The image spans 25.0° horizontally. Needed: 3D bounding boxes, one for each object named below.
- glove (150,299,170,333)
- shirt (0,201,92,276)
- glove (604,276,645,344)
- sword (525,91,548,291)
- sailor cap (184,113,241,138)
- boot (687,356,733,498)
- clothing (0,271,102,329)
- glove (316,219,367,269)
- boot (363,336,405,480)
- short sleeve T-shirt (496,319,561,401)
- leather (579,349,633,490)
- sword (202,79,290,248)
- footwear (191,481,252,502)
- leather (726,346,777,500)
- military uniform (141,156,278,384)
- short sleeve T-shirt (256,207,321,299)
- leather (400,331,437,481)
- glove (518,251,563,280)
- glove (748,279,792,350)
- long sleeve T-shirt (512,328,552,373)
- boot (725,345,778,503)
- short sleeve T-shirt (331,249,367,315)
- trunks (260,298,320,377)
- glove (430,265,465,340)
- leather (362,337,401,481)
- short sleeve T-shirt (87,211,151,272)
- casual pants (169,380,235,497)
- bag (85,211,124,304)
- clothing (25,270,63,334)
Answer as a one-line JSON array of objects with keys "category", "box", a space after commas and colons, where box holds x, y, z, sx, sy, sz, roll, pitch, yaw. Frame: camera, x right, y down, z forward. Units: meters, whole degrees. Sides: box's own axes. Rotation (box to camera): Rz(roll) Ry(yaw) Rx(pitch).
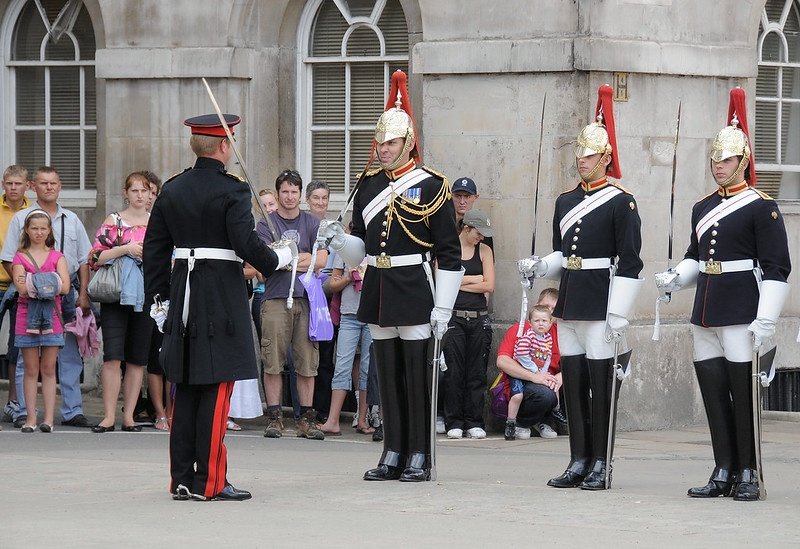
[{"category": "glove", "box": [-1.698, 0.296, 12.875, 0.188, 0.200, 0.091, -6, -1, -9]}, {"category": "shirt", "box": [-3.028, -0.288, 15.348, 0.699, 0.546, 0.261, 1, -4, -36]}, {"category": "glove", "box": [1.640, 0.258, 13.272, 0.240, 0.498, 0.169, 3, 13, 7]}, {"category": "sword", "box": [1.083, -0.710, 14.494, 0.054, 1.707, 0.177, 8, 0, 10]}, {"category": "sailor cap", "box": [-1.298, -1.071, 12.818, 0.286, 0.083, 0.247, -4, 9, -27]}, {"category": "boot", "box": [2.281, 1.159, 13.277, 0.439, 0.998, 0.313, -1, -2, -12]}, {"category": "clothing", "box": [-3.101, 0.211, 15.476, 0.587, 0.522, 0.286, 1, 0, -25]}, {"category": "glove", "box": [-0.451, -0.243, 13.990, 0.401, 0.166, 0.186, 25, 20, -42]}, {"category": "boot", "box": [-0.145, 1.018, 13.604, 0.455, 1.109, 0.247, 0, -3, -38]}, {"category": "short sleeve T-shirt", "box": [1.108, 0.760, 15.361, 0.780, 0.677, 0.425, 2, -10, 1]}, {"category": "leather", "box": [1.504, 1.052, 13.292, 0.301, 1.038, 0.470, 3, 13, 8]}, {"category": "sword", "box": [-1.273, -0.917, 14.715, 0.270, 2.113, 0.051, -16, 41, 7]}, {"category": "footwear", "box": [-1.253, 1.544, 12.756, 0.429, 0.160, 0.147, 0, -2, -9]}, {"category": "leather", "box": [2.647, 1.073, 13.129, 0.245, 1.134, 0.312, -12, -22, 38]}, {"category": "military uniform", "box": [-1.369, 0.069, 12.910, 1.041, 1.661, 0.555, 2, 1, 26]}, {"category": "short sleeve T-shirt", "box": [-0.916, -0.245, 15.463, 0.540, 0.384, 0.742, 1, -34, 1]}, {"category": "leather", "box": [0.138, 1.007, 13.431, 0.250, 1.033, 0.410, 1, 13, 0]}, {"category": "glove", "box": [1.056, -0.060, 13.597, 0.304, 0.113, 0.183, 0, 3, -7]}, {"category": "glove", "box": [2.652, 0.291, 13.037, 0.243, 0.501, 0.310, 5, 13, 16]}, {"category": "long sleeve T-shirt", "box": [1.141, 0.679, 15.502, 0.405, 0.401, 0.278, 16, -12, -36]}, {"category": "boot", "box": [2.648, 1.090, 13.144, 0.238, 1.130, 0.313, -3, -5, 38]}, {"category": "short sleeve T-shirt", "box": [-0.417, 0.116, 15.608, 0.440, 0.443, 0.144, 1, -4, 25]}, {"category": "trunks", "box": [-0.953, 0.521, 15.421, 0.571, 0.685, 0.283, 1, -11, -26]}, {"category": "glove", "box": [0.346, 0.228, 13.471, 0.218, 0.558, 0.273, 2, 13, 4]}, {"category": "leather", "box": [-0.109, 1.026, 13.609, 0.266, 1.107, 0.418, -4, -3, 40]}, {"category": "short sleeve T-shirt", "box": [-2.324, -0.267, 15.084, 0.596, 0.463, 0.318, 2, -10, -28]}, {"category": "casual pants", "box": [-1.395, 1.158, 12.720, 0.435, 0.791, 0.337, 0, 13, -6]}, {"category": "bag", "box": [-2.440, -0.096, 15.219, 0.327, 0.711, 0.214, 6, 2, -33]}, {"category": "clothing", "box": [-2.978, 0.247, 15.113, 0.277, 0.518, 0.145, -1, 13, -10]}]
